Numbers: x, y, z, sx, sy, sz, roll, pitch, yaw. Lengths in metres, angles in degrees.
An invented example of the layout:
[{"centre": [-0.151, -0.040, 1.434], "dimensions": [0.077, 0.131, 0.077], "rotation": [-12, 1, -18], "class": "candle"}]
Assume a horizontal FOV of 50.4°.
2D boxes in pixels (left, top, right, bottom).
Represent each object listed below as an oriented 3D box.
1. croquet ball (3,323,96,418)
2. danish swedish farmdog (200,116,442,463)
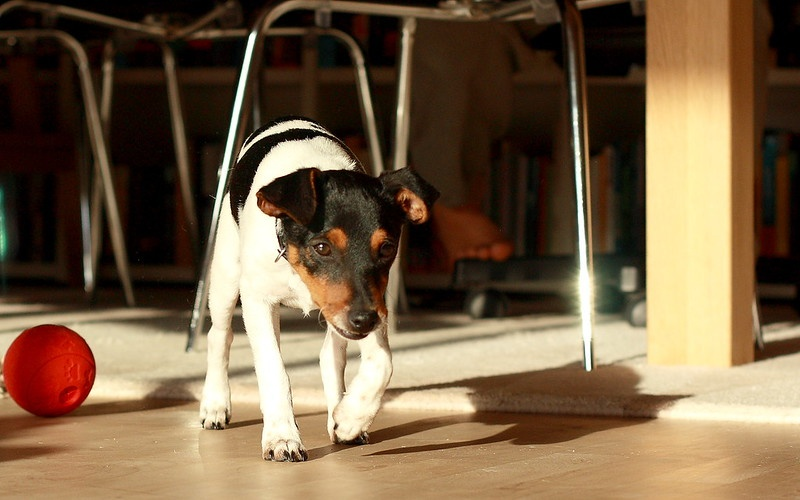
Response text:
[{"centre": [-1.084, 0.345, 2.644], "dimensions": [0.261, 0.274, 0.314], "rotation": [2, 2, -29], "class": "croquet ball"}, {"centre": [-0.081, 0.071, 2.367], "dimensions": [0.440, 0.904, 1.315], "rotation": [2, -3, -15], "class": "danish swedish farmdog"}]
